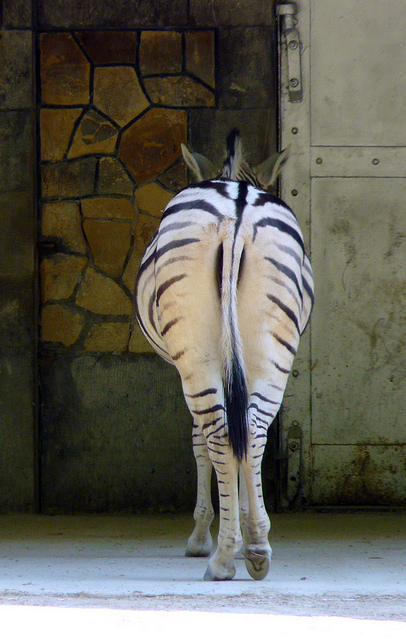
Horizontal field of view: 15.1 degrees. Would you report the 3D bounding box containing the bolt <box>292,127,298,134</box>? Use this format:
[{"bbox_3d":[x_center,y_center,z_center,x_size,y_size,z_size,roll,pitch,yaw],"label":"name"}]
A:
[{"bbox_3d":[0.466,-0.958,7.734,0.026,0.033,0.007,-1,-2,0],"label":"bolt"}]

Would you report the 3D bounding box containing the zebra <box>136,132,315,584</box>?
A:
[{"bbox_3d":[0.092,0.141,6.623,0.759,1.886,1.128,1,6,12],"label":"zebra"}]

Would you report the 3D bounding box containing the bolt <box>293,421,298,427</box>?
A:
[{"bbox_3d":[0.465,0.529,7.694,0.021,0.027,0.006,0,5,11],"label":"bolt"}]
